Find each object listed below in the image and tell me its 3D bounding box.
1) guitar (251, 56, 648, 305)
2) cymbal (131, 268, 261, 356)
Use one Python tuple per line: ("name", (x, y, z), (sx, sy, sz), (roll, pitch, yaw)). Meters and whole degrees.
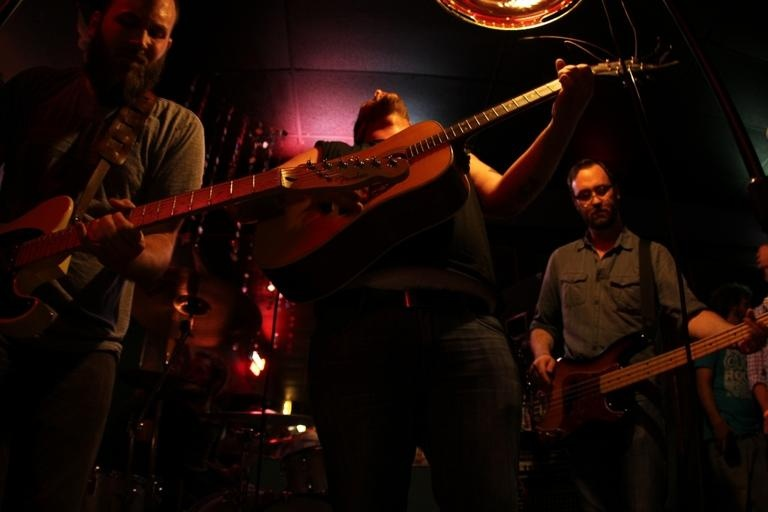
("guitar", (0.349, -0.201, 3.511), (2.397, 0.965, 0.380), (-27, -36, 6))
("cymbal", (-1.875, 0.505, 6.297), (1.000, 0.234, 0.997), (0, -63, -26))
